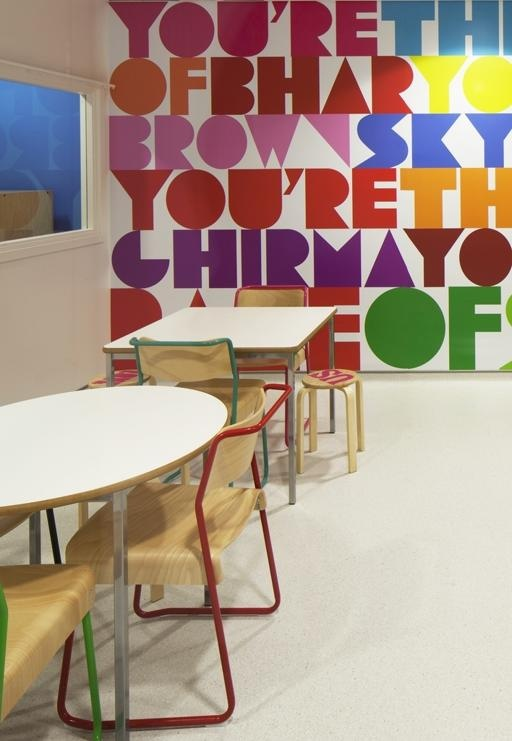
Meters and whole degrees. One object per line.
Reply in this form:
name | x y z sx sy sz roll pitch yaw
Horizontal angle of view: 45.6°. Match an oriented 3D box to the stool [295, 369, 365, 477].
stool | 0.403 0.263 3.267 0.454 0.724 0.483 -1 4 4
